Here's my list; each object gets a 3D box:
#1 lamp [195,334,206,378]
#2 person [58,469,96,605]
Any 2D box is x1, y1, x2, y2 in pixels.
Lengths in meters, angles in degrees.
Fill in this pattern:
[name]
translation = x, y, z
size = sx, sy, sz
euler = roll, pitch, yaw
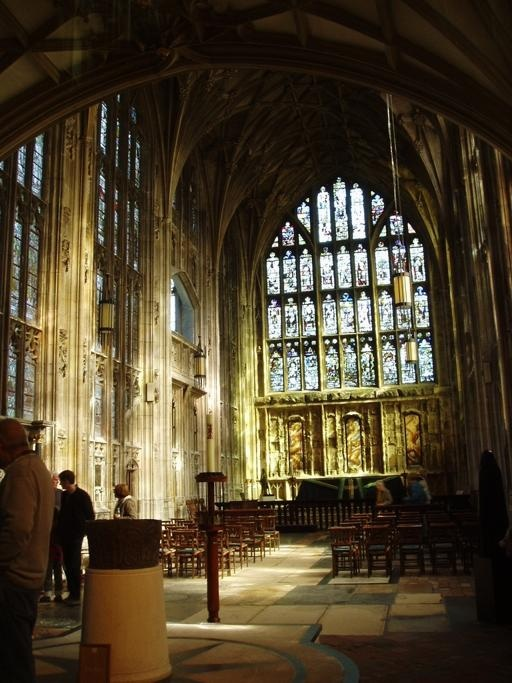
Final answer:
[lamp]
translation = -1.976, 0.546, 24.267
size = 0.405, 1.572, 1.226
euler = -2, -12, -4
[person]
translation = -2.192, 2.340, 8.388
size = 0.410, 1.520, 0.515
euler = 0, -13, -15
